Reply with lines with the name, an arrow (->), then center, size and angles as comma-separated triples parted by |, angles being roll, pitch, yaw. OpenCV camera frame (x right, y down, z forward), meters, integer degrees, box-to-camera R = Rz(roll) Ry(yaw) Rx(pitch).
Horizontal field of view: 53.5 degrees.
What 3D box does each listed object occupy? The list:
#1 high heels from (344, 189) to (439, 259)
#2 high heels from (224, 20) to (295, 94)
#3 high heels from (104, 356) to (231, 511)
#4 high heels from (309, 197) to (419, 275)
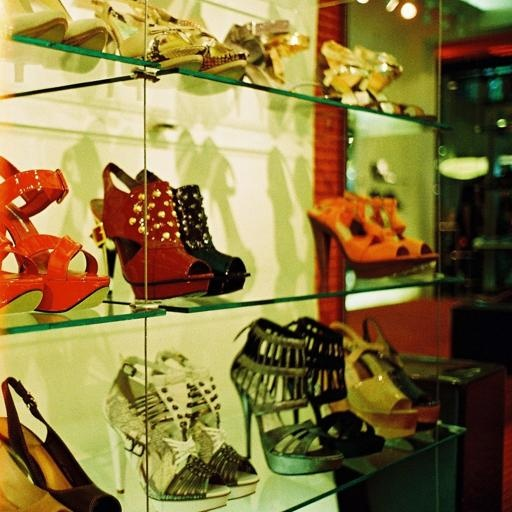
high heels -> 0.322, -0.081, 1.263 | 0.148, 0.091, 0.226 | 1, 6, -39
high heels -> 0.015, -0.419, 1.051 | 0.111, 0.184, 0.061 | -12, -29, -10
high heels -> -0.202, 0.301, 0.913 | 0.130, 0.202, 0.403 | 6, -7, -32
high heels -> 0.279, -0.059, 1.273 | 0.125, 0.191, 0.357 | 2, 0, -39
